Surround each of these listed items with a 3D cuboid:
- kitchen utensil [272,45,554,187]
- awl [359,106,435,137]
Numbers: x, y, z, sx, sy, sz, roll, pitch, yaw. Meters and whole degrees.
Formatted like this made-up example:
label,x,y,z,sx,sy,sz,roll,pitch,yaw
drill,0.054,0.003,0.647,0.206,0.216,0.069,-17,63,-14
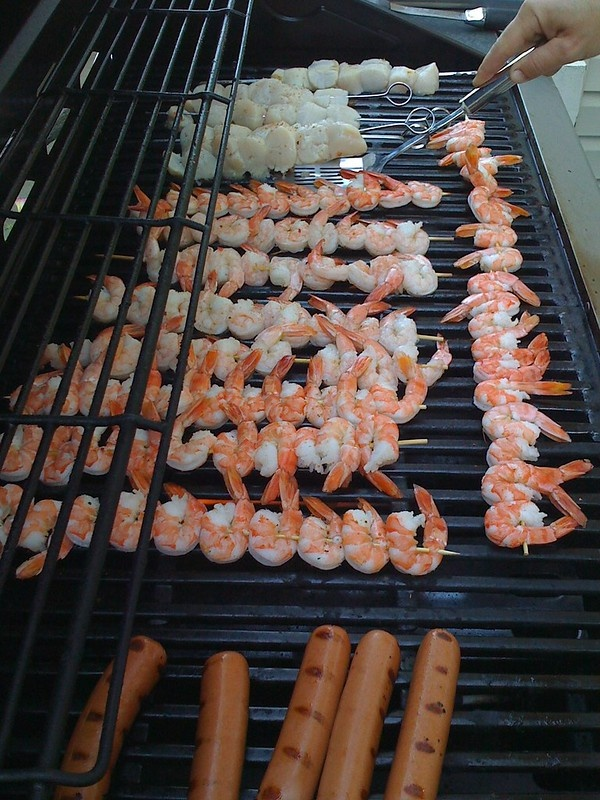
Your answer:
label,x,y,z,sx,sy,sz,roll,pitch,yaw
kitchen utensil,0.578,-1.172,2.946,0.997,0.070,0.316,-31,72,6
awl,0.446,-1.240,3.170,0.433,0.031,0.139,2,84,16
